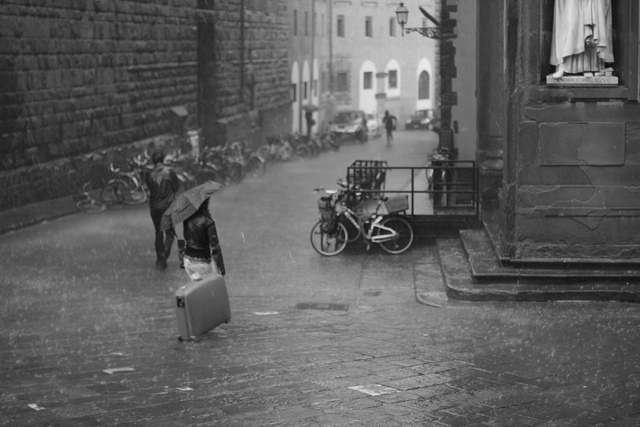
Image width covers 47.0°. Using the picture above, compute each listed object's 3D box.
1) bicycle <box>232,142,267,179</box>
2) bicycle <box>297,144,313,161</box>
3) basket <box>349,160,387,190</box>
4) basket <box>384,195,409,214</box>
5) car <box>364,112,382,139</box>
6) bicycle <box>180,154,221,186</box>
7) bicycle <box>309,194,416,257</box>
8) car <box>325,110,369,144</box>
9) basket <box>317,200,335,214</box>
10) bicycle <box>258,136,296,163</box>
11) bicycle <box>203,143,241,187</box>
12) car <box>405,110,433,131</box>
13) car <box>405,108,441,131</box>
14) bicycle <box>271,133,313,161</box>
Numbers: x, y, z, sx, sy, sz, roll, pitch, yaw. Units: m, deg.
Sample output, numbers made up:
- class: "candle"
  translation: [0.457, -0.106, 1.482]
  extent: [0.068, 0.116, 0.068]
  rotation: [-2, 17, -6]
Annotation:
- class: "bicycle"
  translation: [-2.705, -1.804, 26.809]
  extent: [1.359, 0.992, 0.843]
  rotation: [9, 19, 27]
- class: "bicycle"
  translation: [-0.646, -2.781, 33.283]
  extent: [0.344, 0.765, 1.055]
  rotation: [4, 11, 27]
- class: "basket"
  translation: [1.025, -0.915, 18.580]
  extent: [1.039, 0.770, 1.144]
  rotation: [1, 5, 16]
- class: "basket"
  translation: [1.677, -0.198, 15.881]
  extent: [0.341, 0.279, 0.375]
  rotation: [-5, 3, 15]
- class: "car"
  translation: [3.396, -5.551, 46.141]
  extent: [0.874, 1.065, 1.629]
  rotation: [-1, 4, -6]
- class: "bicycle"
  translation: [-3.852, -1.359, 23.354]
  extent: [1.417, 1.057, 0.971]
  rotation: [4, 23, -8]
- class: "bicycle"
  translation: [0.921, 0.349, 15.888]
  extent: [2.121, 1.067, 0.435]
  rotation: [-1, 9, -3]
- class: "car"
  translation: [1.748, -5.183, 43.368]
  extent: [1.411, 1.447, 2.606]
  rotation: [-1, 0, 9]
- class: "basket"
  translation: [0.147, -0.143, 15.968]
  extent: [0.291, 0.299, 0.258]
  rotation: [0, 2, 10]
- class: "bicycle"
  translation: [-1.790, -2.599, 30.798]
  extent: [1.364, 0.995, 0.884]
  rotation: [-6, 16, -24]
- class: "bicycle"
  translation: [-3.274, -1.541, 24.935]
  extent: [1.319, 1.007, 0.812]
  rotation: [-5, 12, -19]
- class: "car"
  translation: [7.314, -6.863, 54.210]
  extent: [1.886, 1.037, 1.262]
  rotation: [2, 14, 19]
- class: "car"
  translation: [7.670, -6.865, 54.197]
  extent: [1.493, 1.430, 2.869]
  rotation: [-10, 14, -42]
- class: "bicycle"
  translation: [-1.134, -2.868, 33.050]
  extent: [1.671, 1.225, 0.972]
  rotation: [4, 17, -9]
